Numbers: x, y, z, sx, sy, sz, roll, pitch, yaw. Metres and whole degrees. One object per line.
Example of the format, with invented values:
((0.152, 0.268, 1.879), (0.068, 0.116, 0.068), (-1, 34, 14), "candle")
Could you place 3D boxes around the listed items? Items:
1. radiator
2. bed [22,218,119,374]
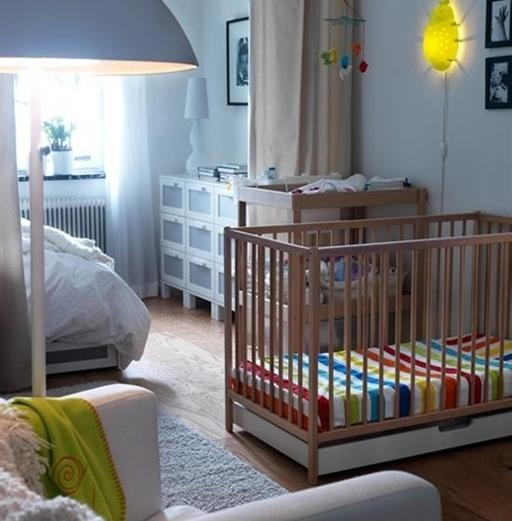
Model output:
((-1.295, -0.242, 3.465), (0.440, 0.499, 0.073), (-1, 10, -23), "radiator")
((-1.223, 0.371, 3.474), (0.640, 1.066, 1.191), (0, 5, -25), "bed")
